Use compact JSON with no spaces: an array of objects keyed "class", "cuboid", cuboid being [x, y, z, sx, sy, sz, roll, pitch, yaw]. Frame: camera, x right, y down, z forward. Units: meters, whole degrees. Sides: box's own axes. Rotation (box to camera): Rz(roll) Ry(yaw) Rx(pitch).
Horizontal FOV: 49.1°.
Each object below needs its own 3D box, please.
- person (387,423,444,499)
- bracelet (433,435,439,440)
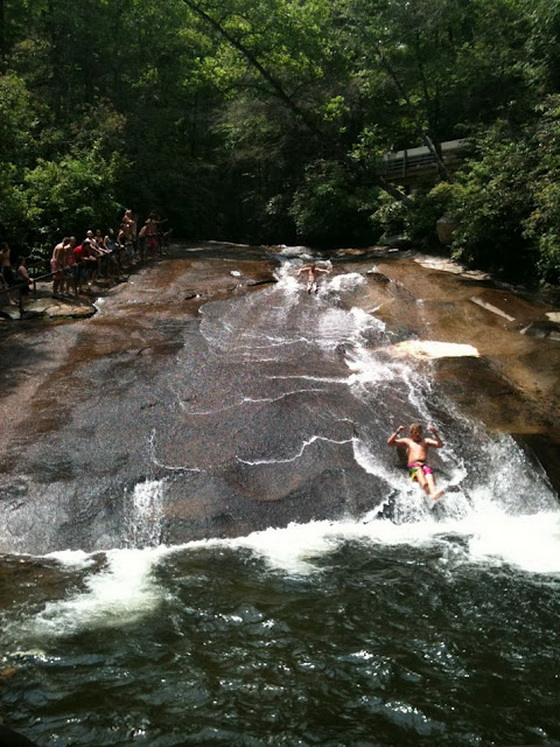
[{"class":"person","cuboid":[2.261,1.412,10.157,0.787,0.548,1.332,-2,29,-1]},{"class":"bracelet","cuboid":[2.731,1.123,10.742,0.068,0.079,0.278,11,8,17]}]
